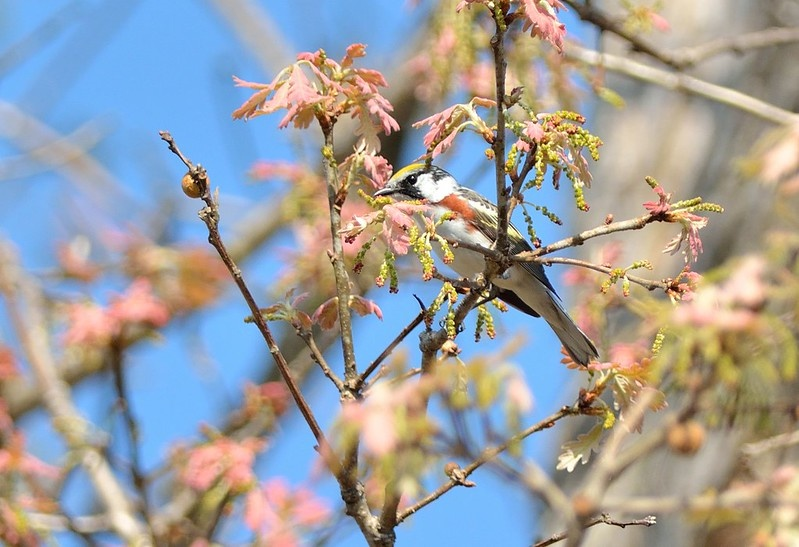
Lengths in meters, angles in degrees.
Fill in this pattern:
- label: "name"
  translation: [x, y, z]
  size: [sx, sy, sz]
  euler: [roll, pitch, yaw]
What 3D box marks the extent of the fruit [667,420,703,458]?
- label: "fruit"
  translation: [1.631, 0.919, 6.242]
  size: [0.181, 0.136, 0.231]
  euler: [-1, -35, -1]
